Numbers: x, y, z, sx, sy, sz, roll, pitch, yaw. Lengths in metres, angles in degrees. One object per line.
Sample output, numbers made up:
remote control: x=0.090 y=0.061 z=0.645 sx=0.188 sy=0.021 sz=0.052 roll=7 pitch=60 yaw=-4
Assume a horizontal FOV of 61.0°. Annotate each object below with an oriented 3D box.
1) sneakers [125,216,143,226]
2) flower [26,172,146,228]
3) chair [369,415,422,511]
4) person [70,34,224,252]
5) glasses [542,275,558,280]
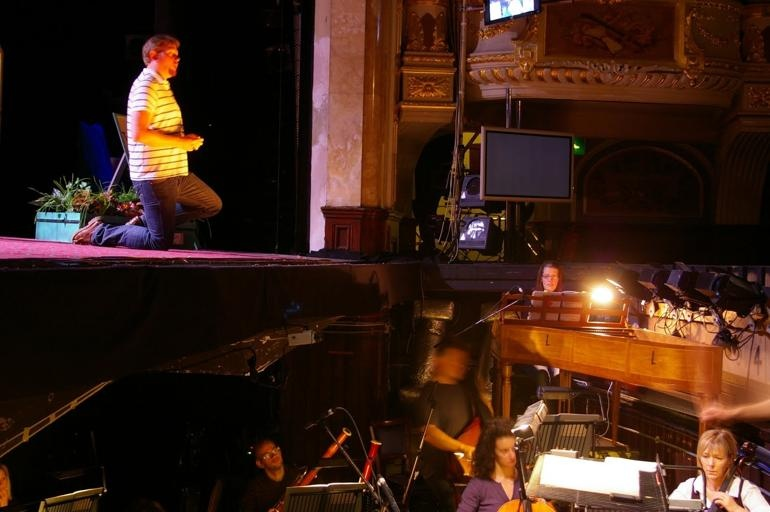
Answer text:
sneakers: x=-2.605 y=-0.351 z=6.797 sx=0.119 sy=0.052 sz=0.155 roll=-30 pitch=7 yaw=-33
flower: x=-3.507 y=-0.637 z=7.708 sx=1.081 sy=0.493 sz=0.957 roll=-1 pitch=13 yaw=-38
chair: x=0.103 y=2.508 z=7.433 sx=0.563 sy=1.175 sz=1.390 roll=2 pitch=6 yaw=3
person: x=-2.272 y=-1.099 z=6.397 sx=1.257 sy=2.045 sz=0.804 roll=0 pitch=7 yaw=-15
glasses: x=2.103 y=0.279 z=8.273 sx=0.188 sy=0.069 sz=0.065 roll=2 pitch=6 yaw=0
